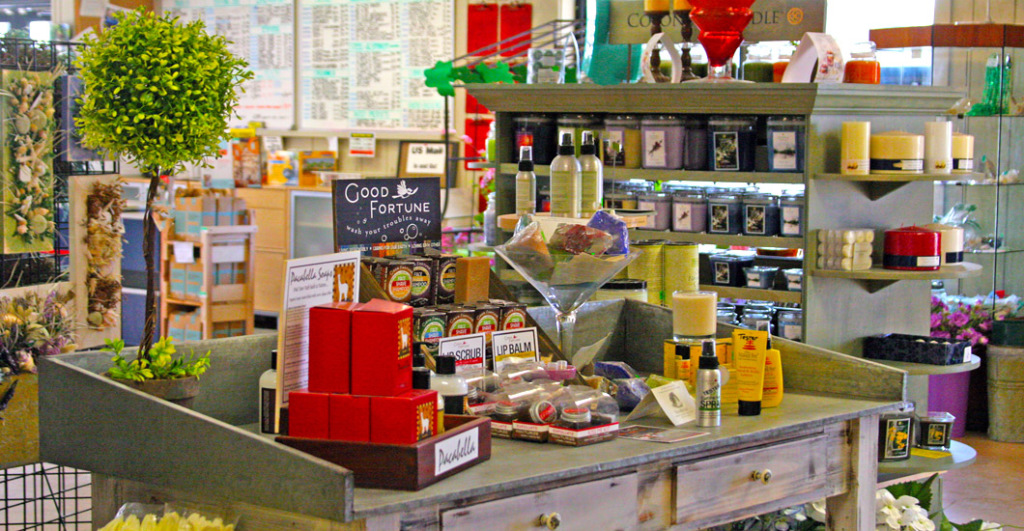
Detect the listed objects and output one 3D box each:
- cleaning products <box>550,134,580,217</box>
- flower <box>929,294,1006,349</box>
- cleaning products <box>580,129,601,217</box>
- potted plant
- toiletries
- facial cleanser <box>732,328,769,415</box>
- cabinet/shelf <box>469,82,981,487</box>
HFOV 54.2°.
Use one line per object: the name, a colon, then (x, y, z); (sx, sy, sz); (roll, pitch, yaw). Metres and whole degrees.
cleaning products: (0.257, -0.441, 4.855); (0.141, 0.408, 0.234); (0, 6, 11)
flower: (3.651, 0.428, 8.221); (0.545, 0.291, 0.584); (32, 18, 28)
cleaning products: (0.384, -0.449, 4.908); (0.100, 0.415, 0.230); (0, 6, 5)
potted plant: (-1.640, -0.271, 4.600); (0.903, 1.705, 0.689); (-1, -7, 13)
toiletries: (0.981, 0.477, 4.657); (0.412, 0.472, 0.364); (-2, 2, -43)
facial cleanser: (1.081, 0.477, 4.568); (0.146, 0.386, 0.154); (2, 3, 26)
cabinet/shelf: (1.189, 0.049, 5.542); (3.063, 2.661, 1.352); (0, 1, 35)
